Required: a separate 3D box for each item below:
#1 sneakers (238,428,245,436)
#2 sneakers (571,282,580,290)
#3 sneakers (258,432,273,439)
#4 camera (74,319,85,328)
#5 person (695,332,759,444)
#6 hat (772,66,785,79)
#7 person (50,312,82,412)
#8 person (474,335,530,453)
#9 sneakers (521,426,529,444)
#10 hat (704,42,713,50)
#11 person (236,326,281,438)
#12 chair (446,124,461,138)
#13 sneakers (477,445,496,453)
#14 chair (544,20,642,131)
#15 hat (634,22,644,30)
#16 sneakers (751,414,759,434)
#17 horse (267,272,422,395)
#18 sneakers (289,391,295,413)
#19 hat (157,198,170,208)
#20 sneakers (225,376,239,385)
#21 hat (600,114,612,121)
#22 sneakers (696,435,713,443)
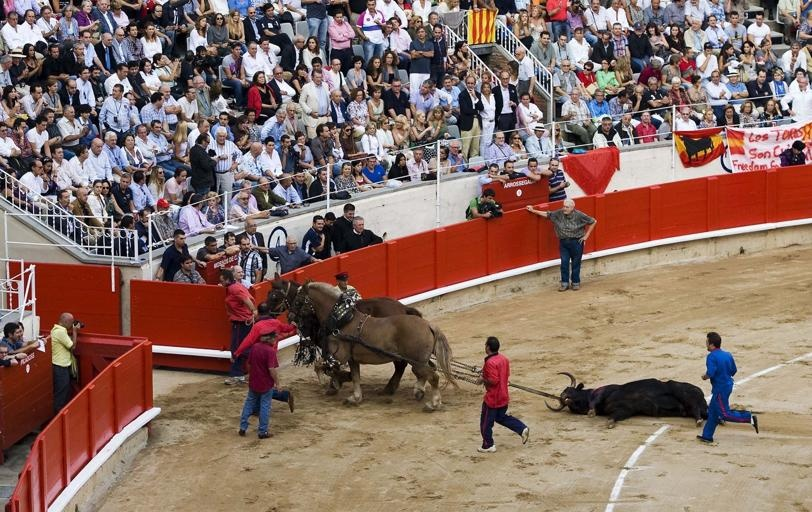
[{"bbox_3d":[-3.295,3.549,29.375,0.127,0.119,0.073,1,13,6],"label":"sneakers"},{"bbox_3d":[4.181,0.764,36.465,0.198,0.210,0.507,-2,-1,2],"label":"sneakers"},{"bbox_3d":[-2.806,3.580,29.341,0.227,0.093,0.115,-6,22,-11],"label":"sneakers"},{"bbox_3d":[-6.867,1.441,30.873,0.256,0.114,0.154,8,39,-39],"label":"camera"},{"bbox_3d":[6.197,2.571,28.775,1.095,2.138,0.471,-6,8,-17],"label":"person"},{"bbox_3d":[10.511,-5.152,41.722,0.369,0.452,0.485,-5,11,13],"label":"hat"},{"bbox_3d":[-6.964,2.197,30.012,0.454,1.993,0.750,0,8,30],"label":"person"},{"bbox_3d":[1.854,2.681,28.975,1.008,2.237,1.175,-4,7,4],"label":"person"},{"bbox_3d":[2.327,3.555,28.874,0.164,0.354,0.128,4,36,6],"label":"sneakers"},{"bbox_3d":[8.596,-5.949,41.912,0.208,0.203,0.267,-1,3,0],"label":"hat"},{"bbox_3d":[-2.984,2.596,29.539,0.887,2.070,0.761,-4,7,1],"label":"person"},{"bbox_3d":[1.233,-3.235,38.566,0.330,0.495,0.340,-1,2,-10],"label":"chair"},{"bbox_3d":[1.580,3.805,28.804,0.300,0.135,0.134,3,15,3],"label":"sneakers"},{"bbox_3d":[5.113,-4.982,41.709,2.905,2.785,1.718,-2,-23,0],"label":"chair"},{"bbox_3d":[6.811,-6.660,43.035,0.252,0.194,0.346,-9,25,-17],"label":"hat"},{"bbox_3d":[6.856,3.313,28.914,0.134,0.420,0.180,-1,13,32],"label":"sneakers"},{"bbox_3d":[-0.617,1.943,30.669,3.848,2.391,1.023,4,8,20],"label":"horse"},{"bbox_3d":[-2.356,2.996,29.891,0.176,0.401,0.121,-7,-4,5],"label":"sneakers"},{"bbox_3d":[-5.457,-1.170,33.018,0.232,0.227,0.229,-3,5,-6],"label":"hat"},{"bbox_3d":[-3.747,2.705,31.549,0.245,0.094,0.145,2,2,0],"label":"sneakers"},{"bbox_3d":[5.329,-3.659,39.263,0.206,0.149,0.200,0,10,-12],"label":"hat"},{"bbox_3d":[5.835,3.616,28.798,0.328,0.127,0.120,19,19,15],"label":"sneakers"}]
